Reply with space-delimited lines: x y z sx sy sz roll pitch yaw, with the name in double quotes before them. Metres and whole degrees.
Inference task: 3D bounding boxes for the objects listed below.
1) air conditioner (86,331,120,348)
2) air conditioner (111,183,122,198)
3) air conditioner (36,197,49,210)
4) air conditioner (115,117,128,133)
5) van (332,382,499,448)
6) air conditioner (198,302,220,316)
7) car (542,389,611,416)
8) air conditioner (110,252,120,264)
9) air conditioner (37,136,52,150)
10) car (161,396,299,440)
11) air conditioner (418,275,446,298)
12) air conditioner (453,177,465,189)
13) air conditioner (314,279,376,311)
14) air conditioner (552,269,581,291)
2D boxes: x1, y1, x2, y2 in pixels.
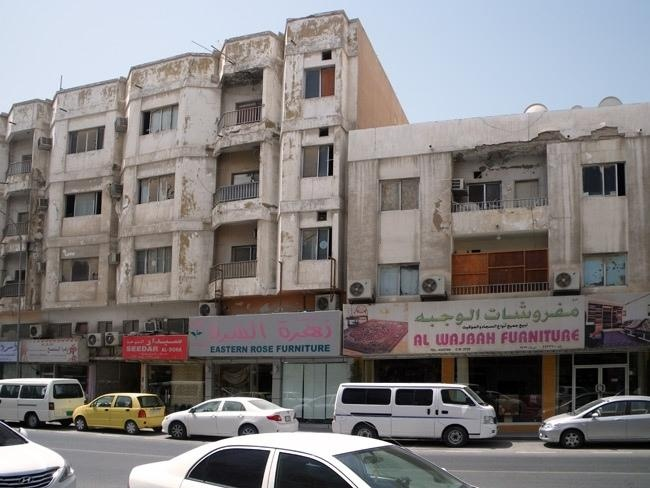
"air conditioner" -11.369 4.876 49.421 1.913 0.731 0.603 -9 -18 26
"air conditioner" -10.841 -2.795 49.888 0.633 0.902 0.743 5 -8 -34
"air conditioner" -15.533 -2.239 52.593 0.534 0.738 0.445 7 -18 -24
"air conditioner" -10.832 -6.284 50.825 0.768 0.772 1.033 -2 10 -13
"van" 3.170 6.445 35.557 5.549 2.316 2.287 -2 -7 11
"air conditioner" -5.590 3.122 45.939 0.870 0.626 0.594 -4 -13 20
"car" 10.097 6.235 37.897 2.996 0.893 0.716 -16 -7 7
"air conditioner" -10.869 0.750 49.480 0.433 0.737 0.748 2 -4 -35
"air conditioner" -15.624 -5.563 53.253 0.732 0.675 0.679 6 -18 -21
"car" -3.664 6.682 37.076 4.293 1.440 2.031 -2 -11 22
"air conditioner" 4.690 1.832 41.333 0.933 0.775 1.002 -1 -4 14
"air conditioner" 5.987 -2.627 42.779 0.554 0.566 0.413 -3 -5 20
"air conditioner" 0.954 2.306 43.124 2.863 1.055 0.791 -14 -21 37
"air conditioner" 10.116 1.551 39.989 1.384 1.271 0.735 -1 -12 22
